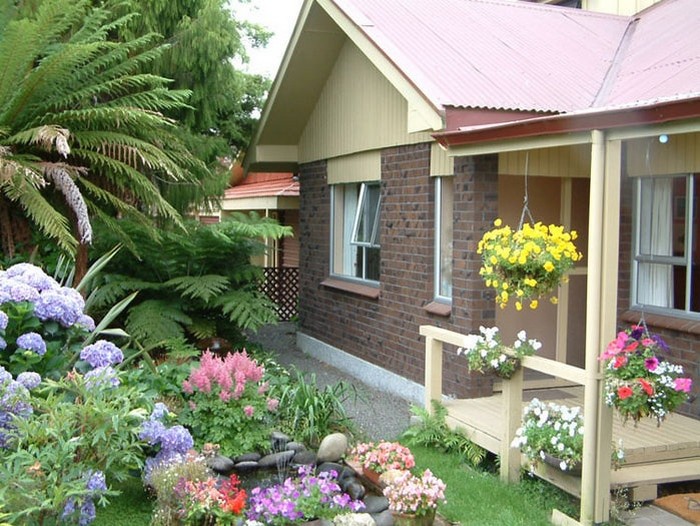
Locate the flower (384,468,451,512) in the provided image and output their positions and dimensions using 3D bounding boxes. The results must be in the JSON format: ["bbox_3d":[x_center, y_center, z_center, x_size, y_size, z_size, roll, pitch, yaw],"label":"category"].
[{"bbox_3d":[0.503,1.748,4.821,0.331,0.235,0.377,0,0,2],"label":"flower"}]

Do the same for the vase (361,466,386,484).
[{"bbox_3d":[0.190,1.838,5.390,0.114,0.088,0.119,4,-4,-27],"label":"vase"}]

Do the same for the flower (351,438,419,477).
[{"bbox_3d":[0.288,1.685,5.454,0.311,0.198,0.348,3,1,0],"label":"flower"}]

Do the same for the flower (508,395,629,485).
[{"bbox_3d":[1.710,1.471,5.343,0.641,0.429,0.624,4,1,-14],"label":"flower"}]

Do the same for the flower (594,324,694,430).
[{"bbox_3d":[2.274,0.869,4.829,0.588,0.799,0.384,3,2,-10],"label":"flower"}]
